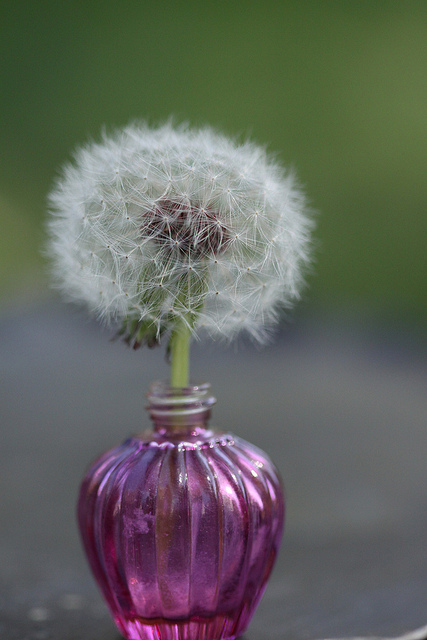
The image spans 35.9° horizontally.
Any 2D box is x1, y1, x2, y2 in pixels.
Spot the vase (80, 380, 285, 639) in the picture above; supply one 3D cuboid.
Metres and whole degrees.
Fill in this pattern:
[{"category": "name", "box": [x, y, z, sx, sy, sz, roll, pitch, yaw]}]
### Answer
[{"category": "vase", "box": [-0.028, 0.165, 0.738, 0.259, 0.275, 0.251, -1, 6, -4]}]
